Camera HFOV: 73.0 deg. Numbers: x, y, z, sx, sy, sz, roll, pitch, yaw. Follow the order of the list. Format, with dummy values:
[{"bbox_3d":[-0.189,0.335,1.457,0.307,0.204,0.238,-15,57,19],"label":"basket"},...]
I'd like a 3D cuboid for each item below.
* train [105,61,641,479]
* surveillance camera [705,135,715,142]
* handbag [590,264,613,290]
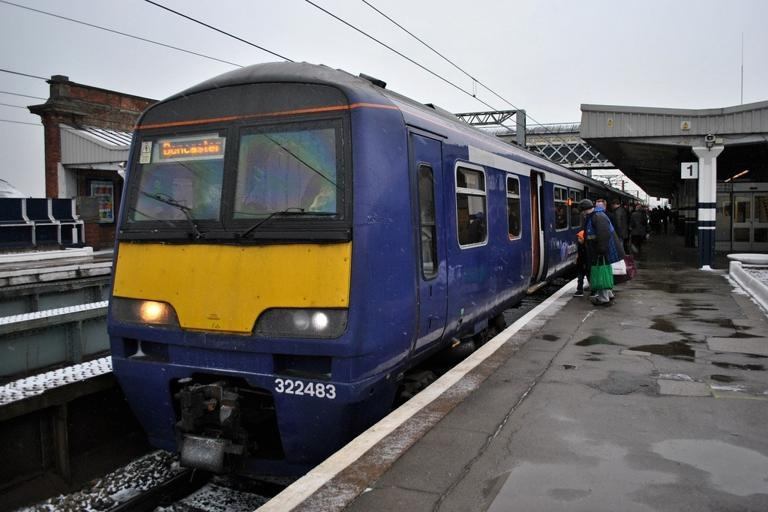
[{"bbox_3d":[-0.337,0.026,6.446,5.167,4.537,2.453,-6,8,-40],"label":"train"},{"bbox_3d":[10.034,-3.603,15.971,0.284,0.256,0.215,0,1,16],"label":"surveillance camera"},{"bbox_3d":[4.544,0.426,10.806,0.454,0.626,0.203,4,31,37],"label":"handbag"}]
